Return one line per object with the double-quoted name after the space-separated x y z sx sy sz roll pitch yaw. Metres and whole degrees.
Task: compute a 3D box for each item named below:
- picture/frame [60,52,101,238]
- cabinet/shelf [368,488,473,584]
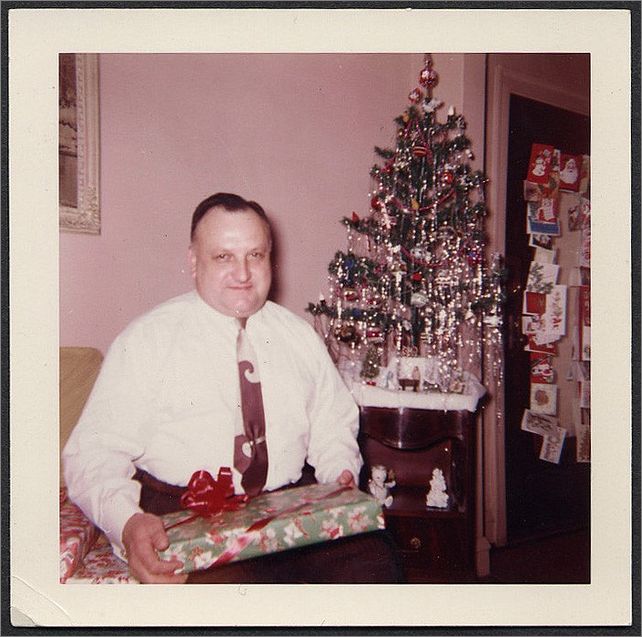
-0.794 -0.571 2.156 0.129 0.587 0.049 -1 3 0 "picture/frame"
0.380 0.820 2.395 0.335 0.222 0.194 -5 -24 18 "cabinet/shelf"
